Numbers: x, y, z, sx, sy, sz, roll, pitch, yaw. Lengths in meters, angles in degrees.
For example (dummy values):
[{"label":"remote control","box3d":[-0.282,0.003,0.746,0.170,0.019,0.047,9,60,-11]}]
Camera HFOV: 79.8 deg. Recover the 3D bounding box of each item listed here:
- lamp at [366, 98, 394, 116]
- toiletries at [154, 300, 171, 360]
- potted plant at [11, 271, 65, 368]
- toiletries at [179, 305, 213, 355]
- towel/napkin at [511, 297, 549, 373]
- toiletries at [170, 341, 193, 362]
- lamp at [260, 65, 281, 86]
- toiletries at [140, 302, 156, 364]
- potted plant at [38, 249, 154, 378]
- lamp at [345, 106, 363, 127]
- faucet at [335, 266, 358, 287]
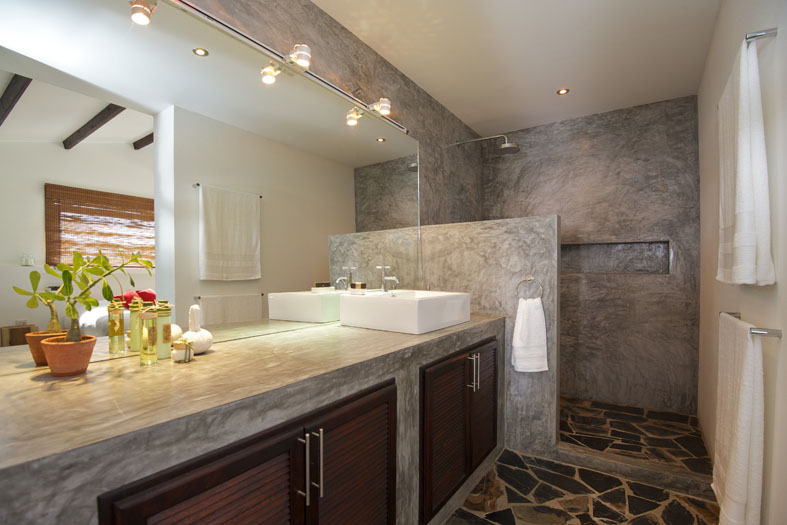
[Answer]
[{"label":"lamp","box3d":[-0.105,-1.108,3.477,0.145,0.129,0.176,2,6,-43]},{"label":"toiletries","box3d":[-1.167,0.354,2.377,0.070,0.269,0.086,-3,14,-18]},{"label":"potted plant","box3d":[-1.673,0.262,2.226,0.172,0.470,0.078,0,13,-5]},{"label":"toiletries","box3d":[-1.080,0.377,2.551,0.198,0.265,0.201,0,-1,39]},{"label":"towel/napkin","box3d":[1.034,0.534,3.540,0.248,0.516,0.240,3,13,9]},{"label":"toiletries","box3d":[-1.079,0.453,2.426,0.099,0.091,0.093,0,-2,5]},{"label":"lamp","box3d":[-0.751,-1.126,2.846,0.079,0.096,0.130,27,31,7]},{"label":"toiletries","box3d":[-1.226,0.362,2.336,0.088,0.277,0.090,-2,-1,35]},{"label":"potted plant","box3d":[-1.483,0.243,2.433,0.477,0.576,0.559,-2,-3,18]},{"label":"lamp","box3d":[-0.282,-1.016,3.293,0.107,0.125,0.132,5,8,-4]},{"label":"faucet","box3d":[-0.334,0.099,3.311,0.142,0.144,0.144,-1,-5,24]}]
